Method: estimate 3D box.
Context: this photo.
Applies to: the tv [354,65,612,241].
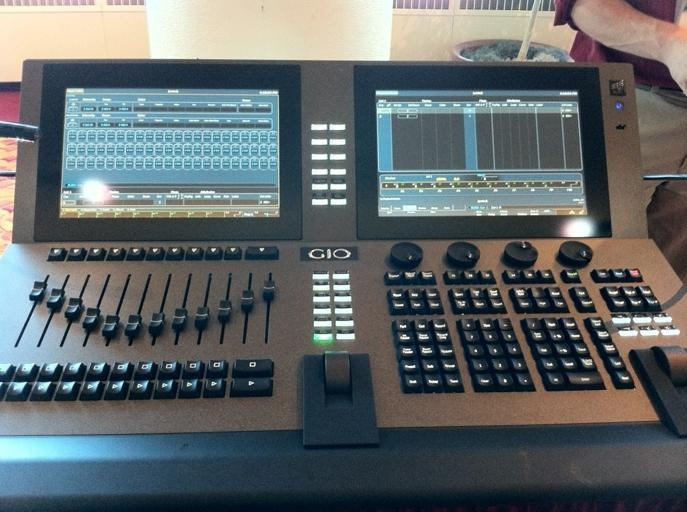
[{"bbox_3d":[0.264,-0.196,1.128,0.517,0.262,0.034,0,-12,-4],"label":"tv"}]
